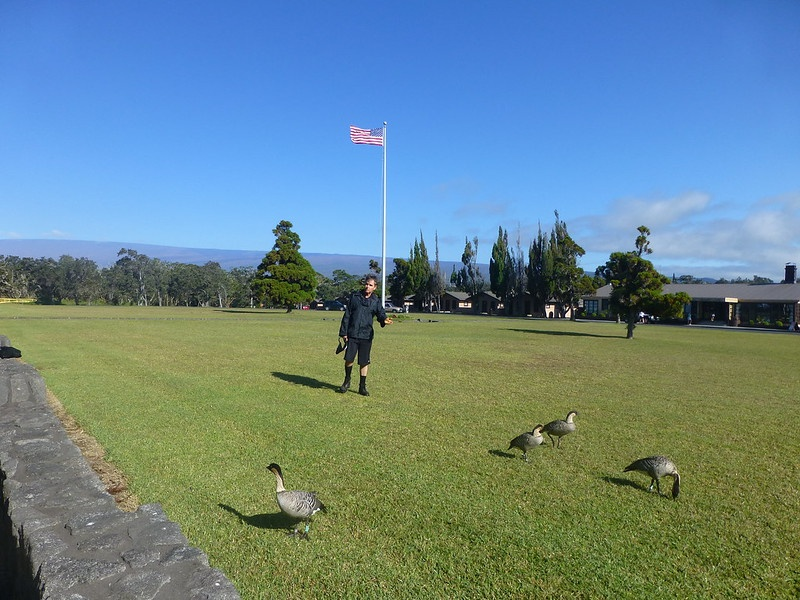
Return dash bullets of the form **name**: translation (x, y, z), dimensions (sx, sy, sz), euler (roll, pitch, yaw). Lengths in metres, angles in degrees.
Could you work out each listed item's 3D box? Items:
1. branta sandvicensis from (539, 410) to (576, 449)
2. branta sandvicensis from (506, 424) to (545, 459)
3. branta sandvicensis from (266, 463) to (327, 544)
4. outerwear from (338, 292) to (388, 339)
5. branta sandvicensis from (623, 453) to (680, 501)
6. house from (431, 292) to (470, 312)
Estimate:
- **branta sandvicensis**: translation (2.567, 2.056, 9.191), dimensions (0.473, 0.602, 0.731), euler (3, 4, 15)
- **branta sandvicensis**: translation (1.933, 2.131, 8.586), dimensions (0.449, 0.504, 0.712), euler (3, 4, 17)
- **branta sandvicensis**: translation (-1.134, 2.279, 6.482), dimensions (0.755, 0.835, 0.328), euler (4, 0, -29)
- **outerwear**: translation (-0.816, 0.365, 12.471), dimensions (0.951, 1.060, 0.609), euler (1, 4, -3)
- **branta sandvicensis**: translation (3.485, 2.309, 7.646), dimensions (0.686, 0.469, 0.667), euler (-2, 6, -44)
- **house**: translation (10.809, 0.634, 108.035), dimensions (3.921, 2.662, 5.389), euler (1, 0, 29)
